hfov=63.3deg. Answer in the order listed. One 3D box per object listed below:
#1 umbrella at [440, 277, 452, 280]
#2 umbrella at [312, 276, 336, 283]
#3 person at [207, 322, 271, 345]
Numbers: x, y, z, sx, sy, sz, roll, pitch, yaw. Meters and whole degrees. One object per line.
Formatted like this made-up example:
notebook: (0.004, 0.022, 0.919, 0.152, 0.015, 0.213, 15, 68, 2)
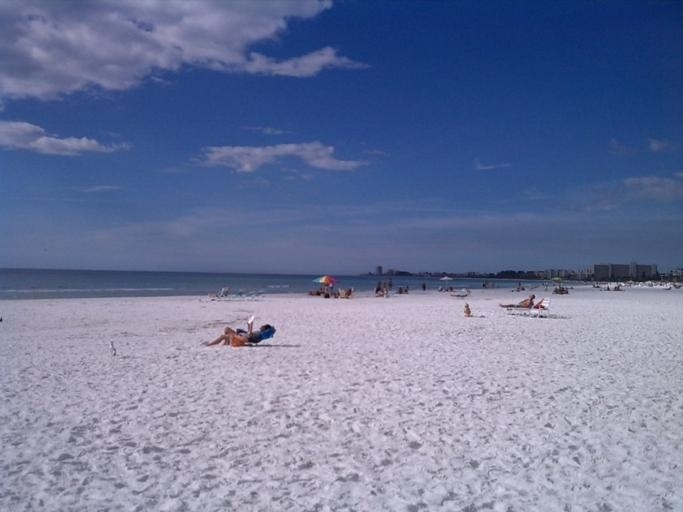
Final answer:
umbrella: (16.199, 3.564, 86.252, 1.488, 0.663, 1.425, -3, 3, -10)
umbrella: (-0.985, 1.617, 36.487, 1.048, 0.344, 1.008, 1, -5, -7)
person: (-2.656, 2.114, 14.934, 1.497, 0.601, 0.694, 1, -3, 2)
